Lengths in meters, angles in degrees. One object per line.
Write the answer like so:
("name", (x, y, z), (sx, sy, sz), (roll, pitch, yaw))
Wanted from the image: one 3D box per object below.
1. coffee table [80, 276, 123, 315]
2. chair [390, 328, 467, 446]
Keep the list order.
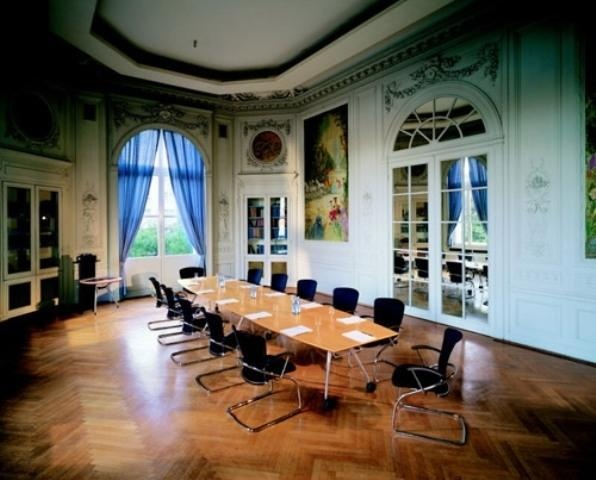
("coffee table", (-4.169, 1.129, 9.363), (1.038, 0.707, 0.596), (-4, 6, 14))
("chair", (1.653, 1.701, 5.641), (0.915, 1.298, 1.240), (0, 2, 10))
